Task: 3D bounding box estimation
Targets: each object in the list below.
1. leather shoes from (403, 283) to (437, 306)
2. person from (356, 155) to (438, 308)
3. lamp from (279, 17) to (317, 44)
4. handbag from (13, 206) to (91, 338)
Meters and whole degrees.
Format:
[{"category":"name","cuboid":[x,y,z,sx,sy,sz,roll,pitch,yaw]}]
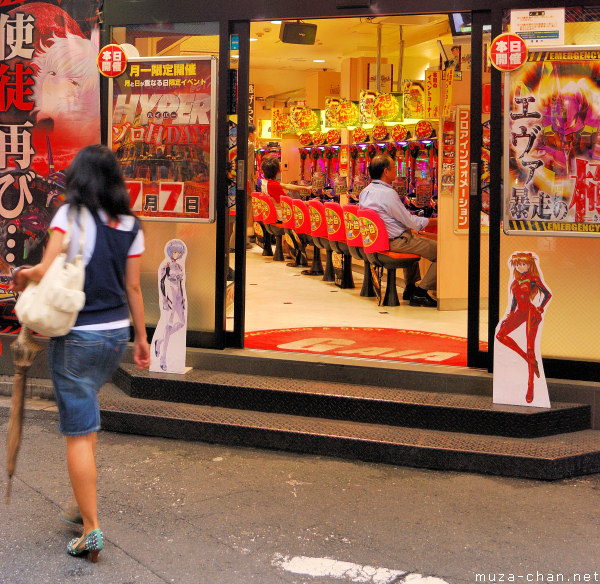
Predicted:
[{"category":"leather shoes","cuboid":[1.458,0.057,6.885,0.447,0.199,0.157,27,17,20]},{"category":"person","cuboid":[1.198,-0.765,6.892,0.928,1.848,0.981,1,0,7]},{"category":"lamp","cuboid":[-0.028,-4.123,8.829,0.536,0.293,0.624,1,0,3]},{"category":"handbag","cuboid":[-0.835,-0.055,1.864,0.290,0.396,0.162,1,0,20]}]
